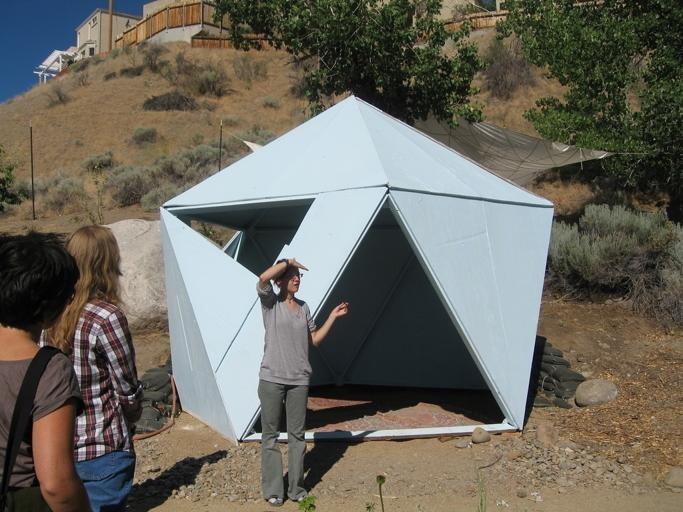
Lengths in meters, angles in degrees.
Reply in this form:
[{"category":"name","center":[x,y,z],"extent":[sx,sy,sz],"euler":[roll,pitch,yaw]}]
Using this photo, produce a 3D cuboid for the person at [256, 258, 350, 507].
[{"category":"person","center":[-0.827,1.847,11.215],"extent":[0.825,3.381,1.033],"euler":[-3,15,-3]}]
